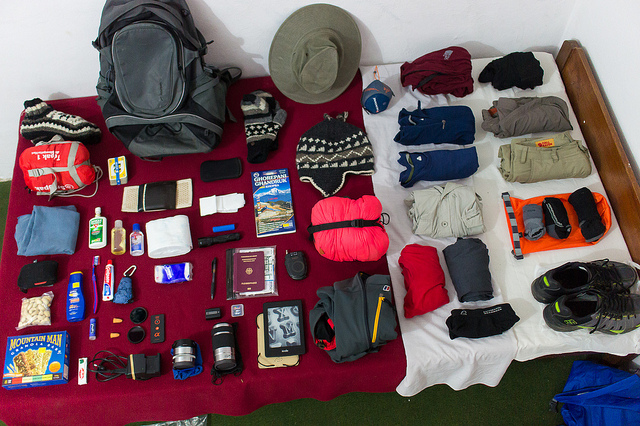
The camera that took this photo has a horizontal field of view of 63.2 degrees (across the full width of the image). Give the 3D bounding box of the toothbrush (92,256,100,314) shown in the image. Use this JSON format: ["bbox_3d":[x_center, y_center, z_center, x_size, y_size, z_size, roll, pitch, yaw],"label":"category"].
[{"bbox_3d":[-1.551,0.506,3.626,0.053,0.443,0.040,-8,-14,8],"label":"toothbrush"}]

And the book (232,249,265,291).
[{"bbox_3d":[-0.495,0.403,3.601,0.214,0.282,0.100,-7,0,5],"label":"book"}]
